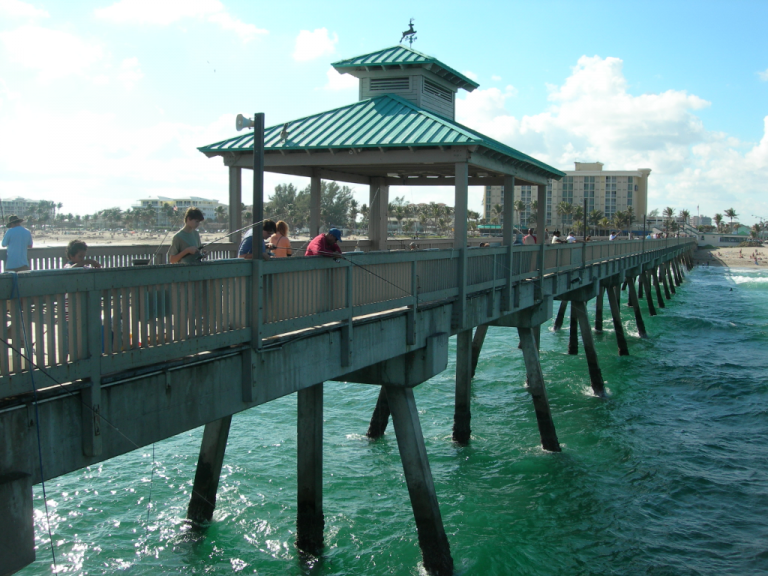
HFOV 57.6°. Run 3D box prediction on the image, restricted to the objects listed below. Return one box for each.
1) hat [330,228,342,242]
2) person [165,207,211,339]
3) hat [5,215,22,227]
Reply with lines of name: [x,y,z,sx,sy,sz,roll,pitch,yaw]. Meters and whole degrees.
hat: [-0.735,-0.789,10.408,0.149,0.134,0.230,19,14,10]
person: [-2.336,-0.272,8.329,0.435,1.320,2.137,-1,7,-16]
hat: [-5.695,-1.025,10.758,0.194,0.081,0.182,-15,12,42]
